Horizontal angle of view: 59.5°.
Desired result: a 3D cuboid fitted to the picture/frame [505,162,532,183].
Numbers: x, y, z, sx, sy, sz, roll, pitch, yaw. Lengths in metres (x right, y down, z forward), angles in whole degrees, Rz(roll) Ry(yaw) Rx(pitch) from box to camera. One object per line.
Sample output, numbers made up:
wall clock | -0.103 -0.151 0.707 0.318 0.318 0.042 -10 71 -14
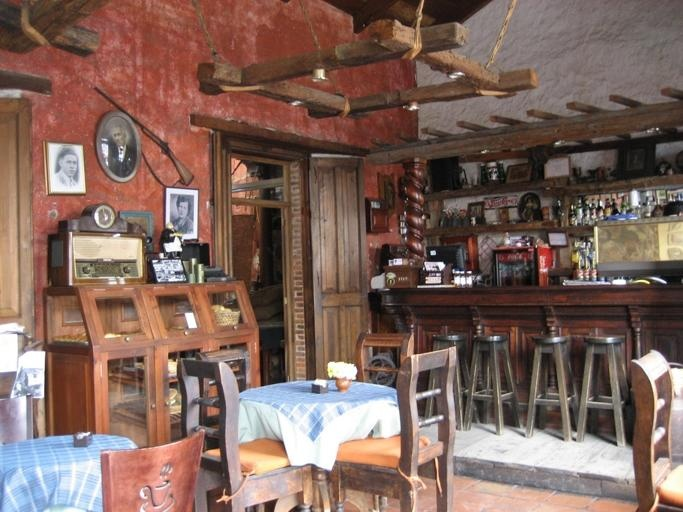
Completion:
picture/frame | 2.670 -1.236 8.972 0.344 0.296 0.037 9 -16 42

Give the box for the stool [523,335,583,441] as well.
stool | 2.118 1.269 5.991 0.490 1.048 0.658 0 11 22

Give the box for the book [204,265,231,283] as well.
book | -1.282 0.185 6.005 0.271 0.141 0.390 -2 10 9

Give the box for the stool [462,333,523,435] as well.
stool | 1.578 1.299 6.264 0.566 1.027 0.745 -1 11 16

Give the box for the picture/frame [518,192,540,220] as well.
picture/frame | 2.789 -0.729 8.852 0.084 0.446 0.383 7 -11 -41

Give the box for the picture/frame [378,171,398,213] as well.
picture/frame | 0.681 -0.953 9.149 0.168 0.619 0.544 1 11 24

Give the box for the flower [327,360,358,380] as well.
flower | 0.027 0.804 4.281 0.206 0.091 0.211 2 0 16

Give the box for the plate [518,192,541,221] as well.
plate | 2.792 -0.721 8.847 0.079 0.449 0.386 8 -14 -42

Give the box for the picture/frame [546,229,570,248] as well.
picture/frame | 3.032 -0.243 8.344 0.252 0.251 0.080 -1 -18 7

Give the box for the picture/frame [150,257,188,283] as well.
picture/frame | -1.672 0.143 5.683 0.248 0.218 0.079 4 -46 -39

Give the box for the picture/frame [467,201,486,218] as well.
picture/frame | 2.106 -0.720 9.338 0.268 0.297 0.039 -1 -13 34

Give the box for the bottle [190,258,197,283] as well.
bottle | -1.473 0.142 5.882 0.075 0.187 0.304 -6 10 -13

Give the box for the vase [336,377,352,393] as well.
vase | 0.009 0.901 4.237 0.093 0.086 0.092 -3 7 -37

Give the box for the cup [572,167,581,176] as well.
cup | 3.365 -1.200 8.556 0.131 0.145 0.133 0 6 0

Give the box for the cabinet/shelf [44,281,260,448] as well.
cabinet/shelf | -1.635 0.881 4.798 0.550 1.320 1.430 -4 -4 41

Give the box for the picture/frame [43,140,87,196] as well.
picture/frame | -2.605 -0.803 5.532 0.047 0.637 0.550 -3 -2 42

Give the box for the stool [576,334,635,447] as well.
stool | 2.535 1.244 5.775 0.448 1.038 0.630 1 11 26

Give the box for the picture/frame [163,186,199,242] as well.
picture/frame | -1.741 -0.441 6.335 0.071 0.725 0.575 2 5 38
